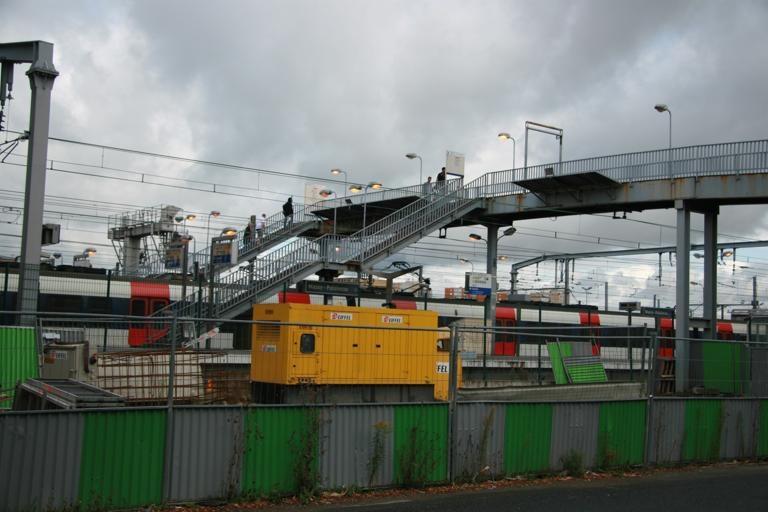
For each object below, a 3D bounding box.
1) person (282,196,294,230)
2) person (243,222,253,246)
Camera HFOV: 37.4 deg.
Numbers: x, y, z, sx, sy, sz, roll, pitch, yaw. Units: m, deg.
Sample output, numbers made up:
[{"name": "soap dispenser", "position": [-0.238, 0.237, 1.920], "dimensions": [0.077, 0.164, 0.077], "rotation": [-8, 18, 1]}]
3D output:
[{"name": "person", "position": [-4.297, -1.970, 51.561], "dimensions": [0.436, 1.394, 1.065], "rotation": [3, -6, -2]}, {"name": "person", "position": [-5.728, -0.921, 48.035], "dimensions": [0.345, 1.012, 0.955], "rotation": [3, -6, -7]}]
